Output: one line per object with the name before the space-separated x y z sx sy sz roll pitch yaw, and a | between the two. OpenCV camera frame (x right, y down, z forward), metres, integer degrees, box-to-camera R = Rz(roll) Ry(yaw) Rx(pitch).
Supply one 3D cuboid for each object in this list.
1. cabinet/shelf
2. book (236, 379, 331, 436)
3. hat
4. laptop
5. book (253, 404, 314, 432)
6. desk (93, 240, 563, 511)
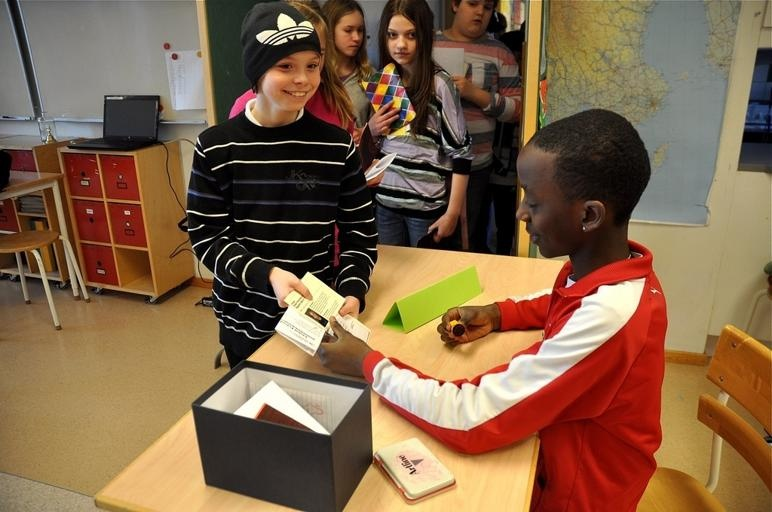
cabinet/shelf | -2.195 -0.298 3.992 1.069 1.071 0.418 15 25 24
book | -0.279 0.421 1.386 0.165 0.041 0.166 30 43 13
hat | -0.347 -0.682 1.707 0.245 0.229 0.230 8 31 35
laptop | -1.996 -1.052 3.952 0.599 0.441 0.518 5 21 13
book | -0.279 0.427 1.358 0.077 0.019 0.079 24 -8 9
desk | -0.177 0.407 1.759 0.849 0.319 1.344 5 39 9
